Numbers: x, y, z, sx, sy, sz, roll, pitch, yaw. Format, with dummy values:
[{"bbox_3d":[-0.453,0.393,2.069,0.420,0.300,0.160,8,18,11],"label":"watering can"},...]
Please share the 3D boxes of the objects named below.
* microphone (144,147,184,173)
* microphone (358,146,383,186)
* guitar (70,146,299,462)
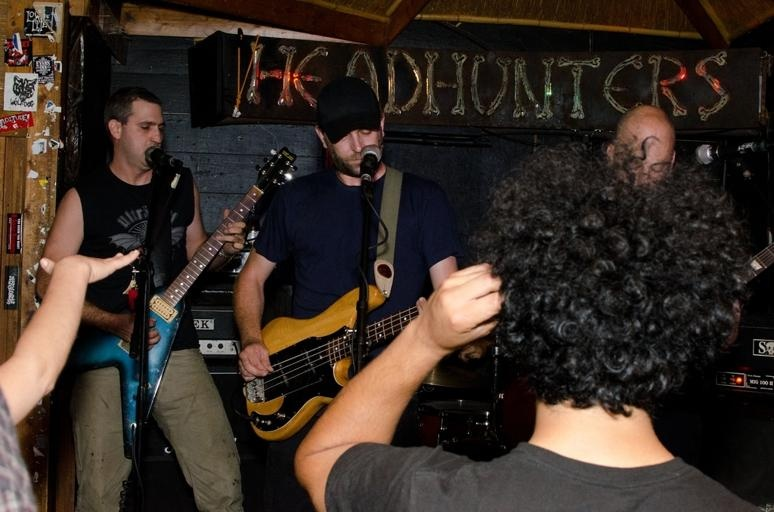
[{"bbox_3d":[-1.232,-0.537,4.262,0.240,0.125,0.103,7,12,21],"label":"microphone"},{"bbox_3d":[-0.086,-0.452,3.799,0.073,0.076,0.230,4,43,5],"label":"microphone"},{"bbox_3d":[-1.166,0.323,4.647,0.877,2.163,0.283,30,5,33],"label":"guitar"}]
